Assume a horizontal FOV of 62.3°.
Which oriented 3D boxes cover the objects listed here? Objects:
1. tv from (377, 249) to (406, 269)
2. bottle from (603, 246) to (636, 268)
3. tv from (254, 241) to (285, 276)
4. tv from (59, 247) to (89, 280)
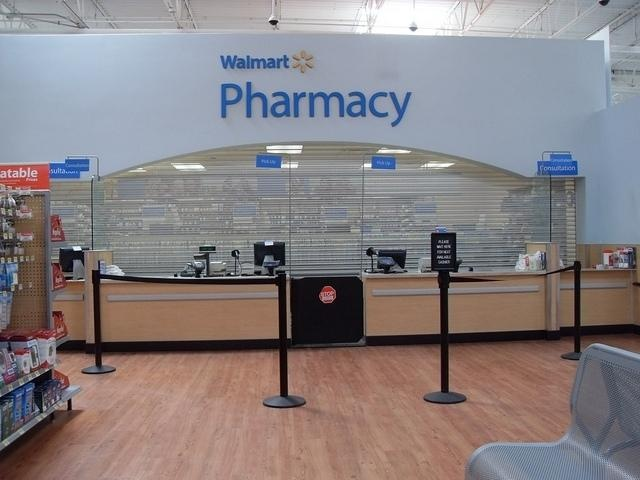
[{"bbox_3d":[1.041,0.224,7.669,0.469,0.325,0.254,1,-1,1],"label":"tv"},{"bbox_3d":[4.443,0.274,7.900,0.277,0.381,0.500,6,-5,-32],"label":"bottle"},{"bbox_3d":[-0.720,0.237,7.464,0.502,0.495,0.179,1,1,-4],"label":"tv"},{"bbox_3d":[-3.334,0.317,7.186,0.432,0.399,0.219,1,-1,-5],"label":"tv"}]
